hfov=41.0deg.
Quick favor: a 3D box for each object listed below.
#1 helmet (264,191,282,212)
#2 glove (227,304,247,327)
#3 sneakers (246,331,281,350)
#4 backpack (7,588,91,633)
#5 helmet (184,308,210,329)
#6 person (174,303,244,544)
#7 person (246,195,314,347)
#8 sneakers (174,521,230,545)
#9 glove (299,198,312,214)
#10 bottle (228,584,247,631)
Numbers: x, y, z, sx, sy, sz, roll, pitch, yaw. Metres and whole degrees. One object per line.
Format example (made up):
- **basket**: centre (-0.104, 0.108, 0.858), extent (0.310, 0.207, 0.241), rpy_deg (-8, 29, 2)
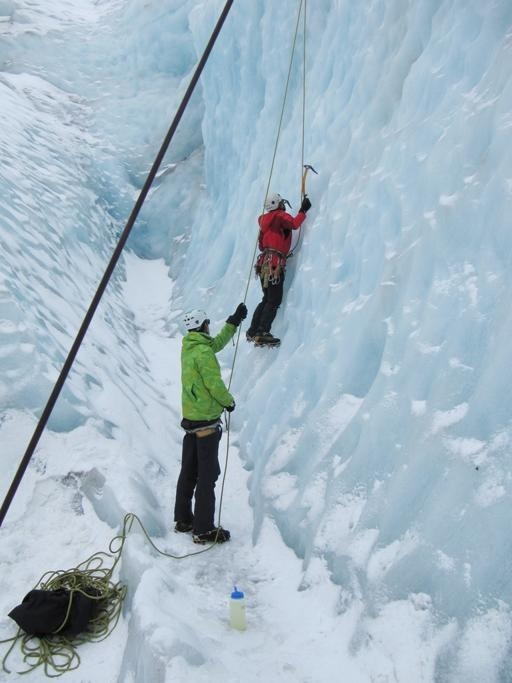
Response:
- **helmet**: centre (0.101, -0.940, 4.635), extent (0.086, 0.125, 0.092), rpy_deg (17, -8, 42)
- **glove**: centre (-0.122, -0.154, 4.364), extent (0.107, 0.155, 0.071), rpy_deg (23, -28, 13)
- **sneakers**: centre (0.050, -0.004, 4.789), extent (0.244, 0.142, 0.096), rpy_deg (5, -6, 2)
- **backpack**: centre (-0.864, 1.166, 2.951), extent (0.220, 0.112, 0.208), rpy_deg (7, 9, -6)
- **helmet**: centre (-0.343, -0.124, 3.967), extent (0.093, 0.119, 0.116), rpy_deg (6, 22, 37)
- **person**: centre (-0.287, 0.518, 3.961), extent (0.323, 1.259, 0.896), rpy_deg (3, 23, -4)
- **person**: centre (0.129, -0.457, 4.722), extent (0.298, 1.053, 0.357), rpy_deg (1, 23, -8)
- **sneakers**: centre (-0.289, 1.064, 3.806), extent (0.311, 0.175, 0.118), rpy_deg (-4, 4, 3)
- **glove**: centre (0.340, -0.931, 4.724), extent (0.052, 0.127, 0.086), rpy_deg (12, -19, 21)
- **bottle**: centre (-0.080, 1.197, 3.088), extent (0.079, 0.236, 0.179), rpy_deg (4, 24, -1)
